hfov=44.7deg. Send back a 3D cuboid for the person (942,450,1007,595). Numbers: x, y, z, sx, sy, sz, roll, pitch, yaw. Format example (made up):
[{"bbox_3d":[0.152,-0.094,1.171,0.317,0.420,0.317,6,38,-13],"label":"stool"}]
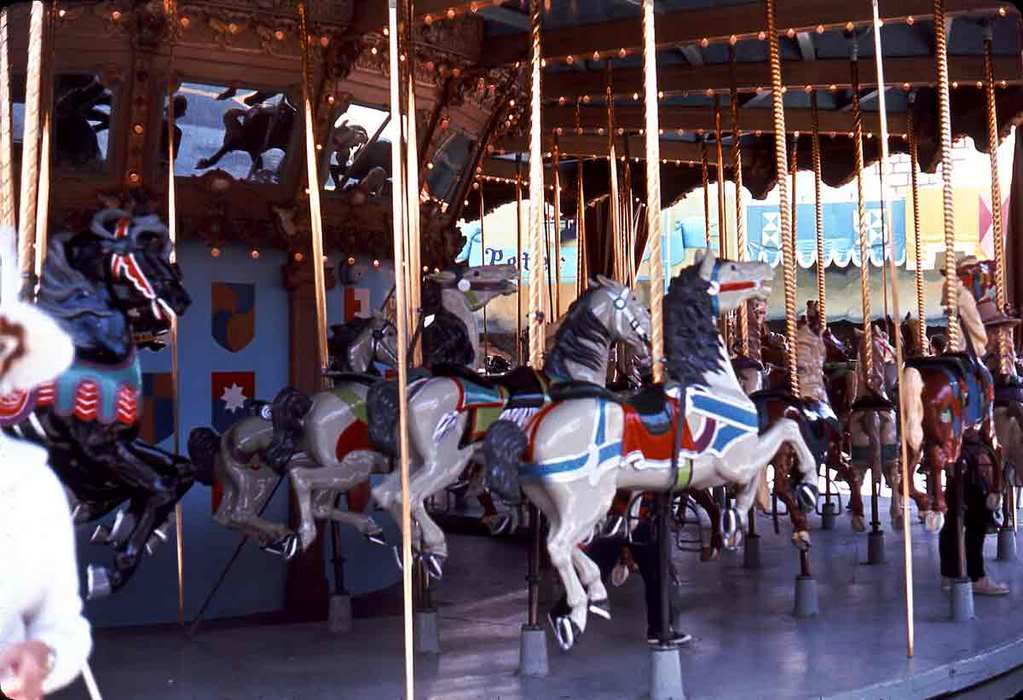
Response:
[{"bbox_3d":[3.751,1.444,10.221,0.479,1.210,0.959,-2,-3,26],"label":"person"}]

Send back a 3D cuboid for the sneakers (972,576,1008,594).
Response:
[{"bbox_3d":[4.022,1.974,10.501,0.303,0.148,0.135,-1,1,12],"label":"sneakers"}]
